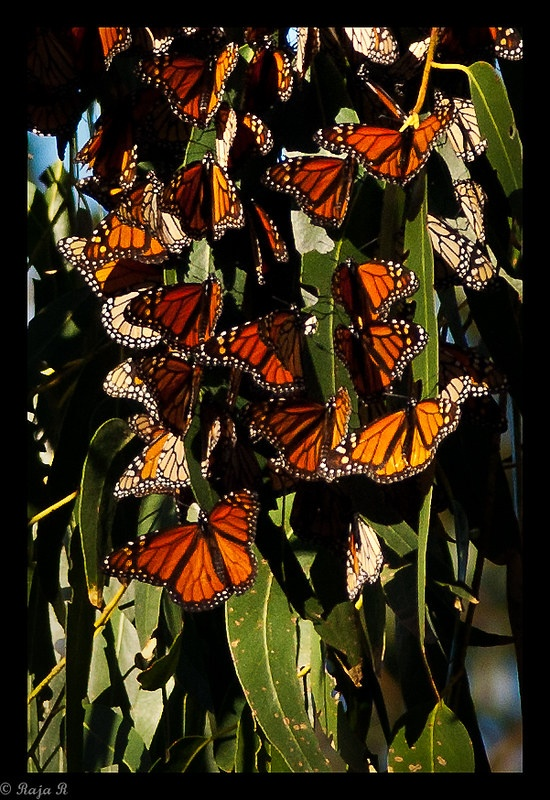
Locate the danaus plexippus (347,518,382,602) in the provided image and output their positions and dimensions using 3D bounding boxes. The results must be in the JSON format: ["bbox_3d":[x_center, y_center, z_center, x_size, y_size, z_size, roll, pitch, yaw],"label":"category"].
[{"bbox_3d":[0.103,0.188,1.547,0.057,0.099,0.026,-19,24,-27],"label":"danaus plexippus"}]
